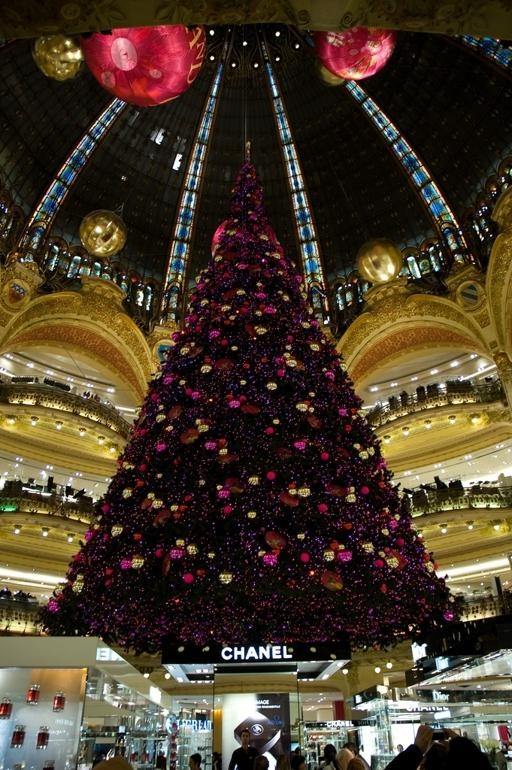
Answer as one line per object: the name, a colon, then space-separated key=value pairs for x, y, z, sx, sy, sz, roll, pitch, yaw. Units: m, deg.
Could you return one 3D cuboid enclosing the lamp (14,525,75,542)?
lamp: x=-6.345 y=4.340 z=15.970 sx=1.936 sy=0.352 sz=0.469 roll=11 pitch=3 yaw=-16
